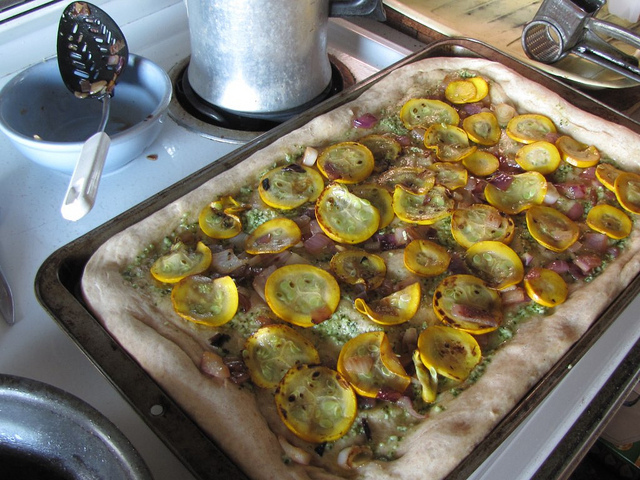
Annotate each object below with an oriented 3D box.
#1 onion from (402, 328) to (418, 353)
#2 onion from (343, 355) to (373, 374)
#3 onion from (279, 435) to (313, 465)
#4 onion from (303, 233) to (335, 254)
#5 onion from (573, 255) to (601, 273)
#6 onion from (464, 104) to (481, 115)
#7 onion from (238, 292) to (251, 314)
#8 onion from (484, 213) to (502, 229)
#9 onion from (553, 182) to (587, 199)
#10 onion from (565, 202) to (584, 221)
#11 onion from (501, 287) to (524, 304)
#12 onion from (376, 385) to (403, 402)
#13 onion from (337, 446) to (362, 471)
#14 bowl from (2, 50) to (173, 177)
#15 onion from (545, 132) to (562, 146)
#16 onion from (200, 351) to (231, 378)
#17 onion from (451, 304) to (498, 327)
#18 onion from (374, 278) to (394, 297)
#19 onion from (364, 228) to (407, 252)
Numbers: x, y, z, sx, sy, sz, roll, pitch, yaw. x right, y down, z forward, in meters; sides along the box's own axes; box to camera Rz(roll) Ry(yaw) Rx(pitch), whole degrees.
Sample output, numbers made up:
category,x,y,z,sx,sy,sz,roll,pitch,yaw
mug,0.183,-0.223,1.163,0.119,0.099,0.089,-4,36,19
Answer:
category,x,y,z,sx,sy,sz,roll,pitch,yaw
onion,0.329,0.371,2.042,0.045,0.022,0.087,15,63,19
onion,0.136,0.439,1.950,0.110,0.032,0.068,0,66,-6
onion,-0.078,0.697,1.828,0.102,0.026,0.055,27,56,20
onion,-0.001,0.024,2.252,0.103,0.031,0.091,-37,75,-20
onion,1.093,0.089,2.257,0.068,0.025,0.076,-37,57,-19
onion,0.761,-0.647,2.754,0.064,0.015,0.054,19,67,18
onion,-0.286,0.237,2.087,0.020,0.068,0.064,-17,90,30
onion,0.724,-0.081,2.305,0.067,0.023,0.060,38,67,11
onion,1.119,-0.225,2.474,0.121,0.046,0.071,29,55,32
onion,1.108,-0.120,2.408,0.065,0.040,0.071,0,91,-15
onion,0.749,0.219,2.151,0.084,0.028,0.054,-6,67,-9
onion,0.244,0.538,1.931,0.085,0.028,0.050,19,65,2
onion,0.096,0.722,1.840,0.062,0.030,0.086,28,66,7
bowl,-1.110,-0.531,2.579,0.714,0.279,0.677,4,48,-5
onion,1.109,-0.482,2.620,0.072,0.023,0.064,-16,57,-9
onion,-0.364,0.445,1.942,0.121,0.027,0.070,23,65,4
onion,0.571,0.278,2.041,0.144,0.032,0.075,13,36,2
onion,0.261,0.191,2.171,0.060,0.023,0.071,40,68,11
onion,0.274,0.006,2.283,0.182,0.040,0.083,-12,68,-12
